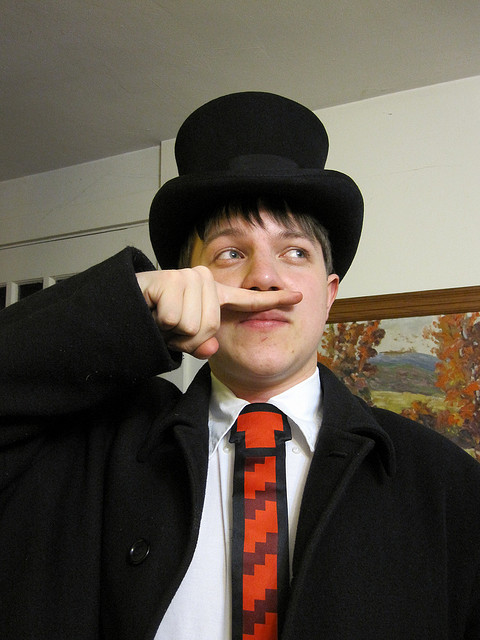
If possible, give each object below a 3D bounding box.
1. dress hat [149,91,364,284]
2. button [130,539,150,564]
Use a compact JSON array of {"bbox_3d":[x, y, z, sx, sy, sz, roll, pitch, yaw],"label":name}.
[{"bbox_3d":[0.076,-0.258,1.202,0.474,0.325,0.403,3,16,16],"label":"dress hat"},{"bbox_3d":[-0.131,0.301,0.774,0.024,0.023,0.005,-5,-32,27],"label":"button"}]
